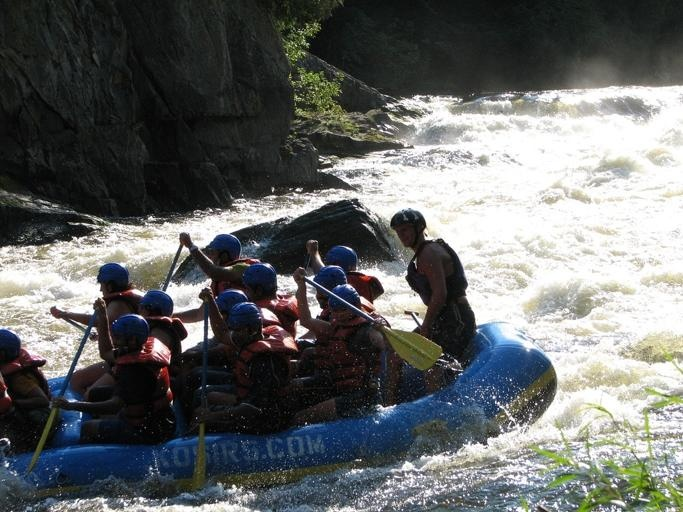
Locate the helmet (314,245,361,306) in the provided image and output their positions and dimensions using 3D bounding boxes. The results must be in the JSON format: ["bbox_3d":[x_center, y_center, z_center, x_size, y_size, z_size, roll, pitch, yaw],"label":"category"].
[{"bbox_3d":[-0.129,0.126,9.544,0.555,0.606,0.443,12,-1,20],"label":"helmet"}]

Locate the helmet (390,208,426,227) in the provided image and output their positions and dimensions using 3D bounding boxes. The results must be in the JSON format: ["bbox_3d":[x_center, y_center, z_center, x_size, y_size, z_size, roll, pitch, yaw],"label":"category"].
[{"bbox_3d":[0.714,-0.411,9.044,0.271,0.228,0.212,-13,10,-12],"label":"helmet"}]
